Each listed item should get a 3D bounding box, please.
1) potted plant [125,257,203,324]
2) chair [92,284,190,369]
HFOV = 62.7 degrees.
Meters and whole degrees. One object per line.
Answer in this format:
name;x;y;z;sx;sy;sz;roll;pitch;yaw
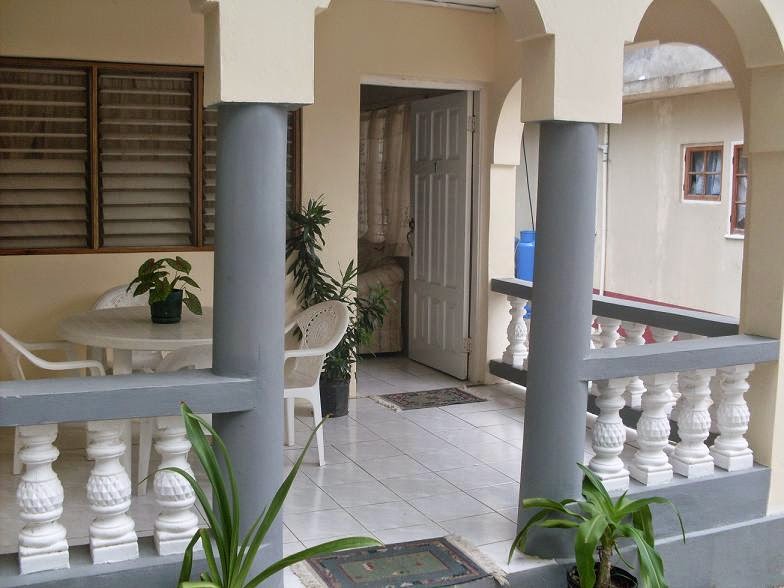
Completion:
potted plant;-1.453;-0.012;4.120;0.564;0.432;0.574;-2;-2;34
chair;-1.764;0.171;4.589;0.634;0.628;0.539;1;-1;-31
